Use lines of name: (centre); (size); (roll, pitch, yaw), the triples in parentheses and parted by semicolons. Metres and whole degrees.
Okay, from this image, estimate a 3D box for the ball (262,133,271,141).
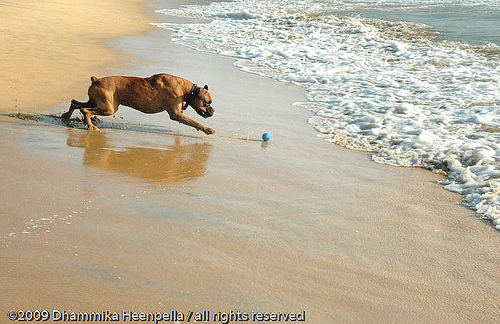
ball: (0.280, -0.425, 9.392); (0.146, 0.122, 0.111); (18, 49, -22)
